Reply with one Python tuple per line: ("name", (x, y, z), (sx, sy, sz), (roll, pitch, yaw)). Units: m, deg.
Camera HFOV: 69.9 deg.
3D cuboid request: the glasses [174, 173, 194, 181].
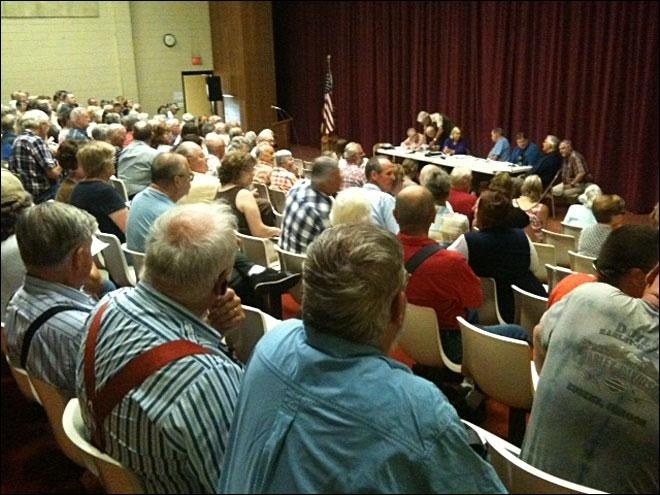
("glasses", (-1.154, -0.568, 3.711), (0.156, 0.052, 0.157), (-3, 10, -10))
